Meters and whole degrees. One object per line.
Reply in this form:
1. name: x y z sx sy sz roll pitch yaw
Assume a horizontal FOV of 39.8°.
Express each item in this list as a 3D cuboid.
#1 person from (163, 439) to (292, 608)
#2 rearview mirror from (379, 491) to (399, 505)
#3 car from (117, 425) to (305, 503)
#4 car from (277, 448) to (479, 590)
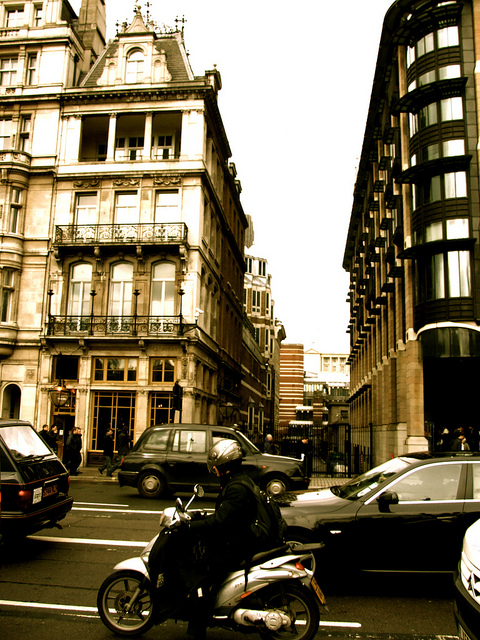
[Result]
1. person: -0.114 1.528 4.956 0.893 1.224 0.509 3 -14 -7
2. rearview mirror: 1.532 1.827 6.833 0.155 0.149 0.148 -6 -4 18
3. car: -0.883 3.612 14.801 4.729 2.076 2.310 -1 -7 3
4. car: 1.611 2.247 7.259 2.524 0.880 1.146 1 -4 4
